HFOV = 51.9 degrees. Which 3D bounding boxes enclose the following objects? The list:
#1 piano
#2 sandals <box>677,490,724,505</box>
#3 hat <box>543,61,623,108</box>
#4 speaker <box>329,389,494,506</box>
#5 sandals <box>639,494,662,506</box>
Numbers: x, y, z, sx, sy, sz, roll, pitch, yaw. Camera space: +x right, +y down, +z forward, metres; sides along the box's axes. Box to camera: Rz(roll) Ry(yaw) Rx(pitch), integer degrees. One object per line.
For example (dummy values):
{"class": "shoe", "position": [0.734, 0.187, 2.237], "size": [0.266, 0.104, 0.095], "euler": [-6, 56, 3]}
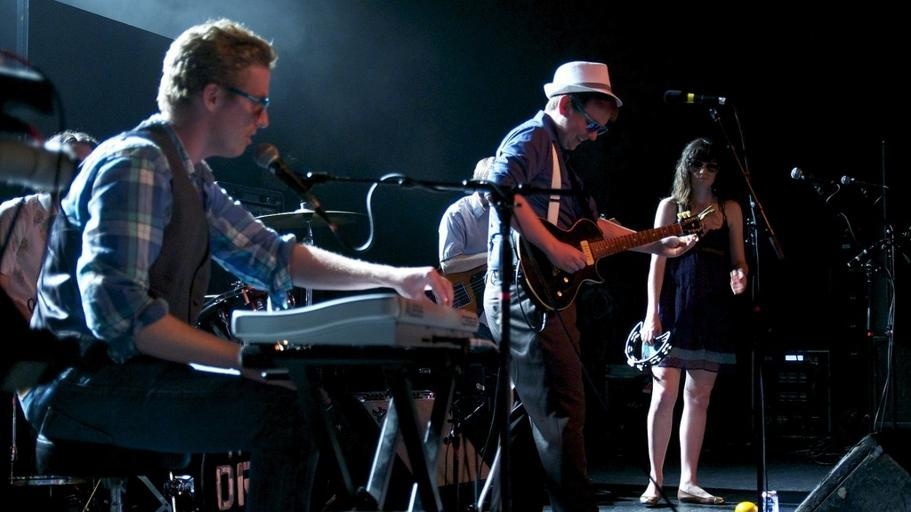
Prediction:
{"class": "piano", "position": [-0.632, 0.484, 5.938], "size": [1.548, 0.456, 0.271], "euler": [2, -11, -11]}
{"class": "sandals", "position": [2.177, 2.128, 8.281], "size": [0.393, 0.121, 0.150], "euler": [-4, -9, 18]}
{"class": "hat", "position": [0.988, -1.376, 7.290], "size": [0.483, 0.211, 0.420], "euler": [4, 0, 8]}
{"class": "speaker", "position": [-0.333, 1.471, 7.111], "size": [1.096, 1.009, 0.261], "euler": [14, -27, -33]}
{"class": "sandals", "position": [1.745, 2.175, 8.336], "size": [0.175, 0.080, 0.049], "euler": [-7, 3, -16]}
